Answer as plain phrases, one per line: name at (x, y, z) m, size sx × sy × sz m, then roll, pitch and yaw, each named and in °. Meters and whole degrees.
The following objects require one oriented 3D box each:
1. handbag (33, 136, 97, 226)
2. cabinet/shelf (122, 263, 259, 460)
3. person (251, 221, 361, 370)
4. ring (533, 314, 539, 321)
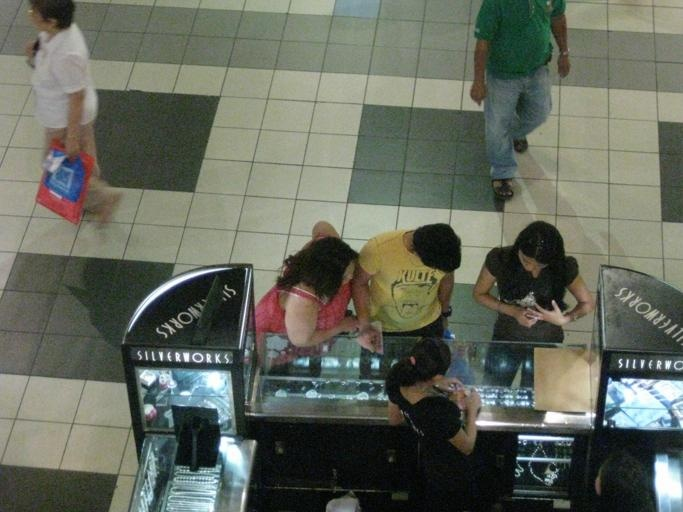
handbag at (-2.324, -0.659, 5.877) m, size 0.614 × 0.635 × 0.190 m, roll 33°, pitch 26°, yaw 11°
cabinet/shelf at (-0.878, 0.872, 4.260) m, size 0.775 × 1.171 × 0.787 m, roll -4°, pitch 27°, yaw -10°
person at (-0.238, 0.289, 4.400) m, size 0.380 × 0.833 × 0.388 m, roll 36°, pitch 63°, yaw -4°
ring at (1.320, 0.416, 4.568) m, size 0.029 × 0.049 × 0.034 m, roll -15°, pitch 63°, yaw 41°
